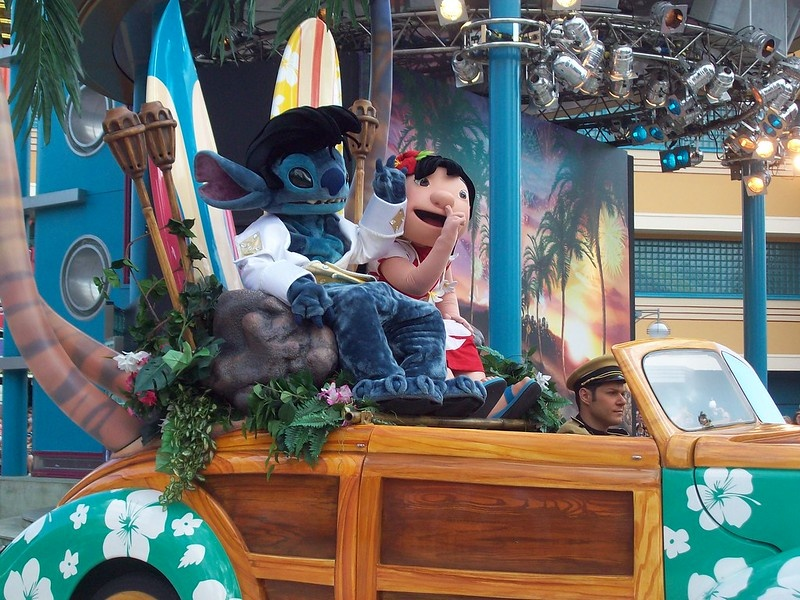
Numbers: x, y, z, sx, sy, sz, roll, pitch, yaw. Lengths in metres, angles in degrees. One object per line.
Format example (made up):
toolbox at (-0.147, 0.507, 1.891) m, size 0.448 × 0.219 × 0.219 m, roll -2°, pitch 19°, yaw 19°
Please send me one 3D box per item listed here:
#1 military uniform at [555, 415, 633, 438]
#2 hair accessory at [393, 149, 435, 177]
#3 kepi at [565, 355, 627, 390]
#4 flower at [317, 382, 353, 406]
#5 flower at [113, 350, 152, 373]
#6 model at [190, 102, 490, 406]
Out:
military uniform at (0.991, 0.668, 5.105) m, size 0.340 × 0.139 × 0.259 m, roll -2°, pitch -10°, yaw 18°
hair accessory at (0.064, -0.721, 5.192) m, size 0.127 × 0.061 × 0.175 m, roll -19°, pitch 4°, yaw 6°
kepi at (1.106, 0.405, 5.602) m, size 0.270 × 0.110 × 0.239 m, roll -15°, pitch -12°, yaw 30°
flower at (-0.289, 0.417, 4.413) m, size 0.114 × 0.066 × 0.112 m, roll -15°, pitch 40°, yaw -43°
flower at (-1.225, 0.266, 4.493) m, size 0.110 × 0.060 × 0.113 m, roll 32°, pitch 29°, yaw 31°
model at (-0.229, -0.208, 4.791) m, size 1.282 × 1.534 × 0.976 m, roll -6°, pitch -5°, yaw 43°
